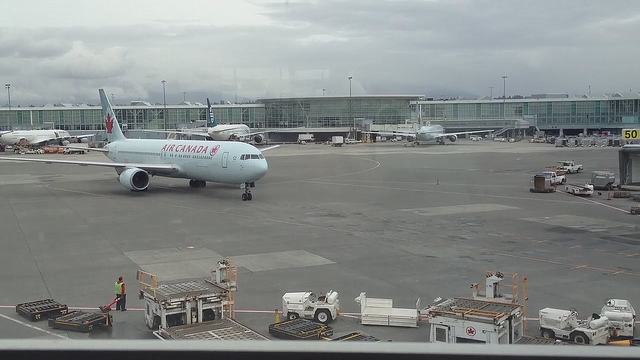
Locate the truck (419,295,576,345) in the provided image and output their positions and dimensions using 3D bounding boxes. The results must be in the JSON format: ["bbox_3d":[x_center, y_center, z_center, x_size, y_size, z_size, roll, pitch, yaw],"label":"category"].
[{"bbox_3d":[11.120,9.392,42.389,8.697,1.945,5.190,4,4,36],"label":"truck"}]

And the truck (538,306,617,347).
[{"bbox_3d":[16.627,9.520,43.590,4.621,1.911,2.752,3,2,31],"label":"truck"}]

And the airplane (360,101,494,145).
[{"bbox_3d":[26.009,-16.933,197.498,26.863,11.634,58.836,0,8,4],"label":"airplane"}]

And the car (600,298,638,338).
[{"bbox_3d":[19.547,9.031,43.806,2.125,1.178,2.847,0,4,25],"label":"car"}]

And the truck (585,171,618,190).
[{"bbox_3d":[33.906,0.131,80.787,2.989,2.391,4.150,5,-5,-38],"label":"truck"}]

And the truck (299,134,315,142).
[{"bbox_3d":[-4.646,-12.924,203.438,4.609,2.330,2.430,-2,1,-44],"label":"truck"}]

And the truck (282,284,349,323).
[{"bbox_3d":[-0.539,8.561,46.004,4.167,1.538,2.173,2,-1,5],"label":"truck"}]

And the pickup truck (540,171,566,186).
[{"bbox_3d":[28.516,-0.295,81.517,1.964,1.246,3.853,-1,-1,42],"label":"pickup truck"}]

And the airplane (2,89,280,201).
[{"bbox_3d":[-18.687,-2.470,78.699,23.955,7.013,24.674,-6,8,-44],"label":"airplane"}]

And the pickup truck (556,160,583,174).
[{"bbox_3d":[35.181,-1.929,95.164,5.674,1.805,2.594,0,-1,-39],"label":"pickup truck"}]

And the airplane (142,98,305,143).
[{"bbox_3d":[-27.185,-12.249,170.396,26.422,7.036,24.059,-4,4,-33],"label":"airplane"}]

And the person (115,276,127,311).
[{"bbox_3d":[-13.919,7.780,46.528,0.785,2.335,1.261,-4,11,-15],"label":"person"}]

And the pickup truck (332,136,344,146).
[{"bbox_3d":[4.452,-10.383,178.880,3.159,2.214,2.696,-1,2,10],"label":"pickup truck"}]

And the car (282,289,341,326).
[{"bbox_3d":[-0.533,8.617,45.995,3.975,1.598,2.043,2,-1,6],"label":"car"}]

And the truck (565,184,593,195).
[{"bbox_3d":[29.474,1.095,76.106,1.331,0.956,2.604,-6,10,-34],"label":"truck"}]
